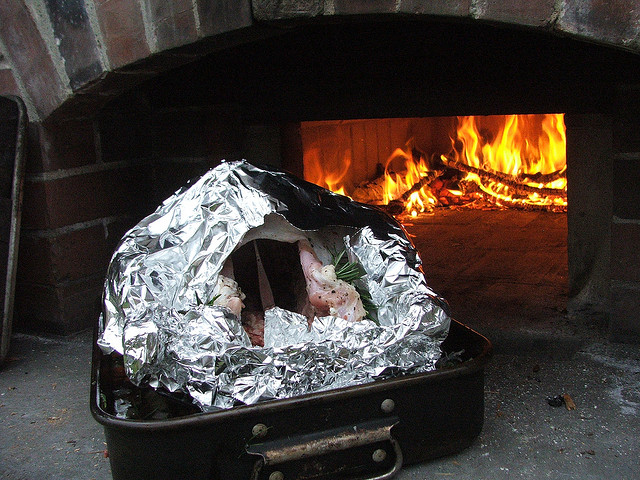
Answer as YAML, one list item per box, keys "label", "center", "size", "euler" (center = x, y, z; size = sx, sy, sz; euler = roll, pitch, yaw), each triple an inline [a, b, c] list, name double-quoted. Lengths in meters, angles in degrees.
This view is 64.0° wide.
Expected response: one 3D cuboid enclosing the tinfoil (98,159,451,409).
- label: "tinfoil"
  center: [-0.190, 0.138, 1.168]
  size: [0.706, 0.219, 0.665]
  euler: [-5, 26, -16]
